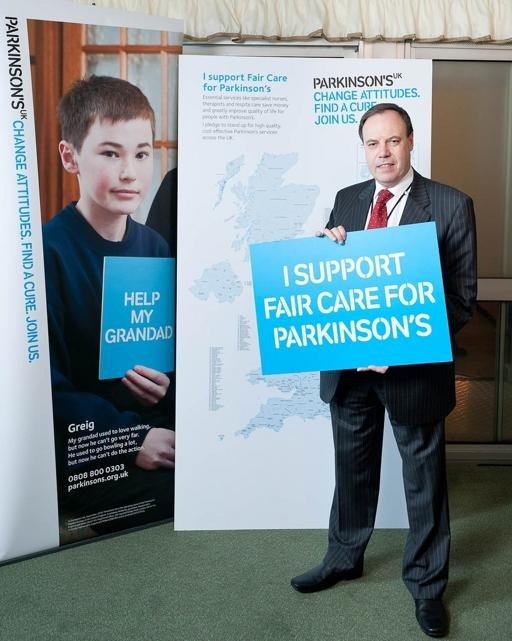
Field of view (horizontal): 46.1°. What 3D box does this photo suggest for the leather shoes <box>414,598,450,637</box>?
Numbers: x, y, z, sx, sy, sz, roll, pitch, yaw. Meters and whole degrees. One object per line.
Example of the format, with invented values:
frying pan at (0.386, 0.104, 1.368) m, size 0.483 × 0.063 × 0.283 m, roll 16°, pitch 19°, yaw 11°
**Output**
leather shoes at (0.551, 0.930, 1.886) m, size 0.091 × 0.058 × 0.133 m, roll 1°, pitch 7°, yaw 4°
